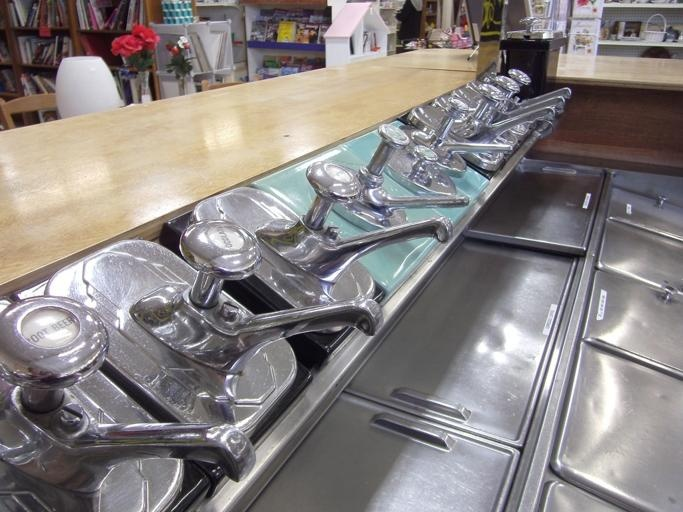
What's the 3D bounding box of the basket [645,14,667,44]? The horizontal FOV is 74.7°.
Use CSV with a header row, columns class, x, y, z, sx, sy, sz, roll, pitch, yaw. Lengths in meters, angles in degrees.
class,x,y,z,sx,sy,sz,roll,pitch,yaw
basket,4.276,-3.090,6.082,0.285,0.343,0.460,15,33,27
